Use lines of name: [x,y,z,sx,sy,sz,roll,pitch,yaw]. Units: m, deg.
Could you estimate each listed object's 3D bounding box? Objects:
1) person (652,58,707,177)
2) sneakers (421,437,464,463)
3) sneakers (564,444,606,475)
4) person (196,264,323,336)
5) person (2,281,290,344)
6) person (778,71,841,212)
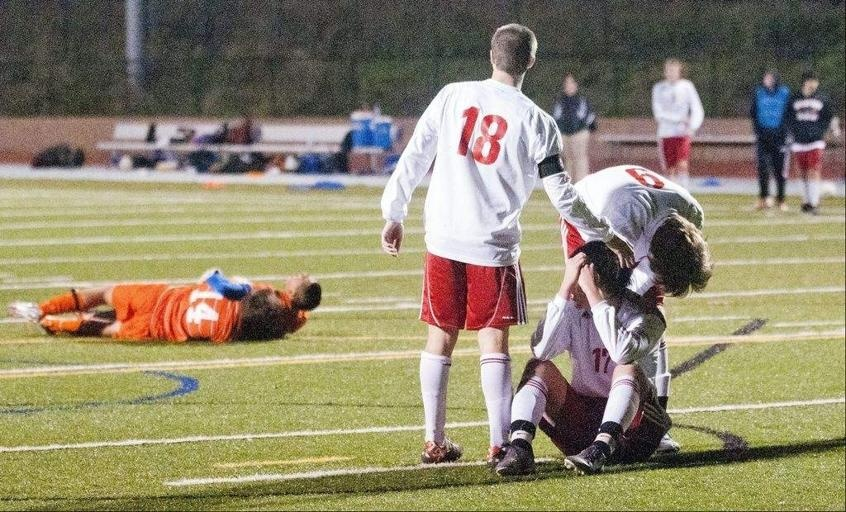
person: [3.950,-2.076,24.681,0.750,1.942,0.696,0,5,14]
sneakers: [0.234,2.051,16.937,0.471,0.212,0.182,-6,9,-35]
sneakers: [1.766,2.102,16.641,0.205,0.259,0.573,2,-10,43]
person: [-2.077,0.352,18.770,1.625,0.649,1.014,20,-4,1]
person: [-3.010,0.694,18.703,2.188,0.567,1.107,3,-28,6]
person: [5.837,-1.703,24.172,0.622,2.133,0.557,0,5,13]
